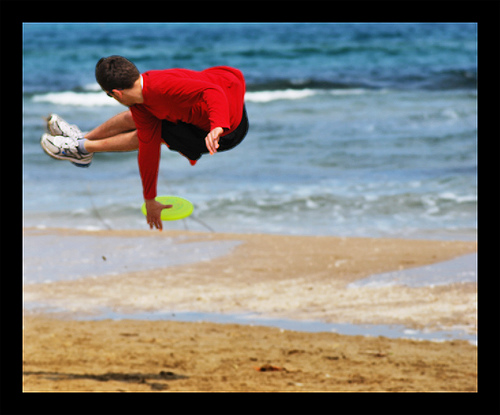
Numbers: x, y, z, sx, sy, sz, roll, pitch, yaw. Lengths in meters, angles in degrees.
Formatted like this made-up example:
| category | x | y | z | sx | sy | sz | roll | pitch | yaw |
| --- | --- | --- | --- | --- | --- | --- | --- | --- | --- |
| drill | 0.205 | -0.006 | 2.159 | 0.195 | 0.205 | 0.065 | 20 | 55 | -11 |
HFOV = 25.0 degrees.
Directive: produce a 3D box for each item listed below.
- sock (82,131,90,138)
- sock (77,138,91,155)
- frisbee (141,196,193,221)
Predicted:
| category | x | y | z | sx | sy | sz | roll | pitch | yaw |
| --- | --- | --- | --- | --- | --- | --- | --- | --- | --- |
| sock | -1.406 | -0.630 | 9.620 | 0.073 | 0.057 | 0.066 | -5 | -2 | -1 |
| sock | -1.407 | -0.517 | 9.510 | 0.087 | 0.138 | 0.053 | -5 | 4 | -7 |
| frisbee | -0.634 | 0.006 | 9.457 | 0.302 | 0.194 | 0.347 | -4 | 3 | -3 |
